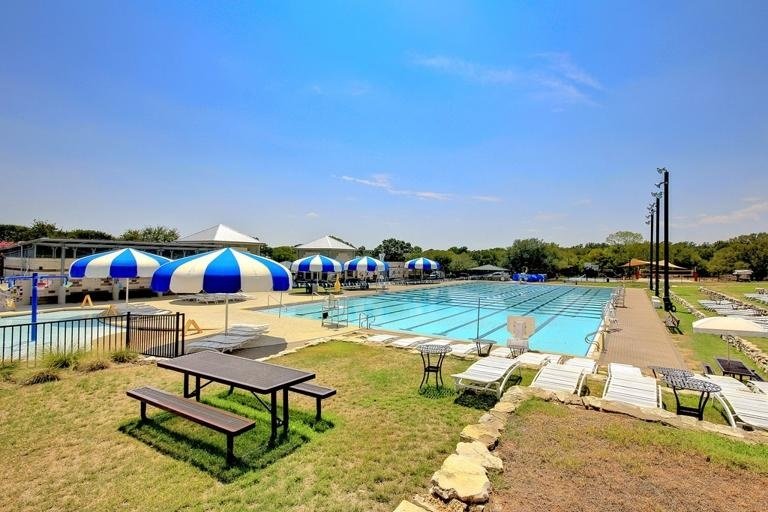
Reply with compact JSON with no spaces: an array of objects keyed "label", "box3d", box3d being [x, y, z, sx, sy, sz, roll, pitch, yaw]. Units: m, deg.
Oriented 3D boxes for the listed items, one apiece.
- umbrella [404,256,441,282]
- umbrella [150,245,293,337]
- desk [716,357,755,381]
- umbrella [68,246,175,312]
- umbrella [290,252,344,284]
[{"label":"umbrella","box3d":[4.034,2.451,43.890,3.738,2.313,3.654,1,4,28]},{"label":"umbrella","box3d":[-4.877,1.224,12.534,3.143,1.842,3.140,1,0,-41]},{"label":"desk","box3d":[9.549,3.310,10.881,0.663,0.472,1.033,-7,0,33]},{"label":"umbrella","box3d":[-10.604,0.964,17.134,3.635,1.910,3.249,0,-2,0]},{"label":"umbrella","box3d":[-5.245,1.197,31.882,4.091,2.436,3.740,1,-2,-15]}]
